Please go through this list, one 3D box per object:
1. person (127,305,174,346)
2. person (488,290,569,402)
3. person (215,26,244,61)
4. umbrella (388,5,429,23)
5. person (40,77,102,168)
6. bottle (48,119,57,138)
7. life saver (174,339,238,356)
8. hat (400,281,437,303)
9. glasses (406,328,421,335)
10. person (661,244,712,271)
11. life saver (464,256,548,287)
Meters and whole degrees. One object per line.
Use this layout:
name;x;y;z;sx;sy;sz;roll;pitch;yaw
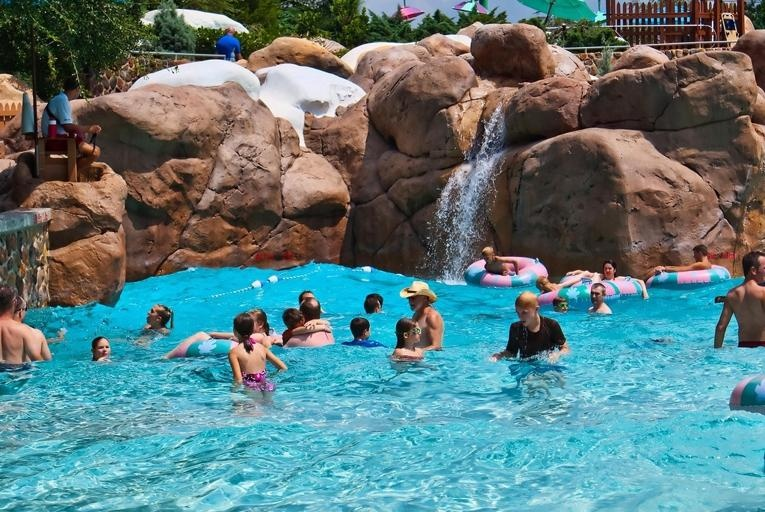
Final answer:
person;-3.812;1.236;14.454;0.463;0.609;0.931;26;-10;-9
person;2.111;1.153;12.224;0.926;1.338;0.740;-1;3;12
person;-4.539;-6.161;25.426;0.629;1.137;1.282;-1;3;7
umbrella;0.989;-10.427;37.879;1.048;0.676;0.533;-2;3;1
person;-5.568;-2.229;15.570;0.912;1.813;0.881;2;8;-31
bottle;-5.770;-2.212;15.220;0.142;0.283;0.115;-3;4;-26
life saver;-2.588;1.369;12.921;0.784;0.225;0.267;-2;3;-9
hat;0.580;0.487;13.218;0.321;0.188;0.423;-3;-15;31
glasses;0.464;1.096;12.757;0.186;0.132;0.084;-5;5;-44
person;5.914;0.055;16.843;0.817;0.572;0.534;-1;-4;21
life saver;2.457;0.322;17.559;1.618;0.578;0.827;-1;3;17
